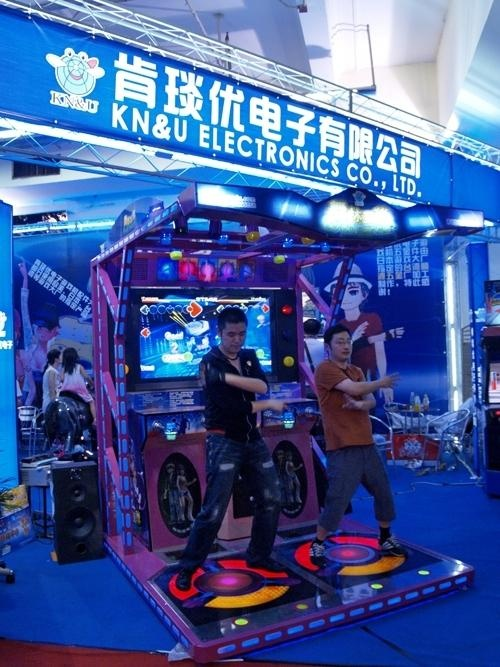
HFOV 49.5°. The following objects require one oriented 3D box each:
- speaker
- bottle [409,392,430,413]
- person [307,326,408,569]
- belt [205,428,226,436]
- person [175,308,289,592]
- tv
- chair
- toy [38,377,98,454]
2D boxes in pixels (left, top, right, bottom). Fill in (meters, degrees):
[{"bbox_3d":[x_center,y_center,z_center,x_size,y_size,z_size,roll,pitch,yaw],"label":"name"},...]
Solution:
[{"bbox_3d":[-1.255,1.282,3.921,0.341,0.740,0.245,-5,1,-18],"label":"speaker"},{"bbox_3d":[2.413,0.988,7.753,0.345,0.295,0.335,4,-8,-43],"label":"bottle"},{"bbox_3d":[0.601,0.680,3.344,0.567,1.234,0.362,-4,1,3],"label":"person"},{"bbox_3d":[-0.195,0.545,3.000,0.116,0.034,0.025,-3,2,30],"label":"belt"},{"bbox_3d":[-0.151,0.648,3.068,0.654,1.441,0.449,-5,1,-10],"label":"person"},{"bbox_3d":[-0.358,0.045,4.474,1.554,0.815,0.140,-3,3,-45],"label":"tv"},{"bbox_3d":[2.250,1.337,6.863,1.056,0.988,0.879,1,-5,6],"label":"chair"},{"bbox_3d":[-2.146,1.046,6.305,0.405,0.789,0.869,-5,1,-10],"label":"toy"}]
